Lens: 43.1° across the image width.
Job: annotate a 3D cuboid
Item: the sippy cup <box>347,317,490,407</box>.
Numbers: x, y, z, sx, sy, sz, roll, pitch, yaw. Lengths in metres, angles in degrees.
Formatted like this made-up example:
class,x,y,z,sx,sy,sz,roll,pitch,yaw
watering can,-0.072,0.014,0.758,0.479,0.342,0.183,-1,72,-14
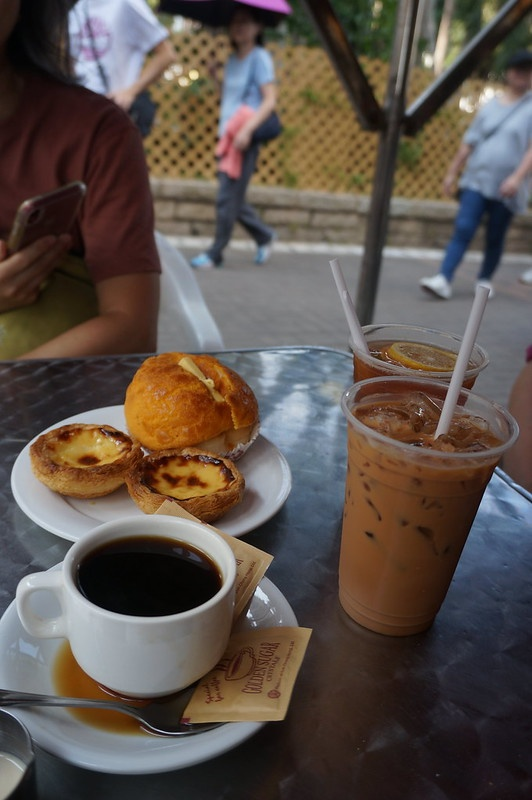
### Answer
class,x,y,z,sx,sy,sz,roll,pitch,yaw
sippy cup,0.205,-0.064,0.948,0.145,0.097,0.136,1,31,-1

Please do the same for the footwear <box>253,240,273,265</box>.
class,x,y,z,sx,sy,sz,roll,pitch,yaw
footwear,-0.005,-0.261,1.197,0.026,0.021,0.054,11,66,1

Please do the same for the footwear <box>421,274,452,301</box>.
class,x,y,z,sx,sy,sz,roll,pitch,yaw
footwear,1.419,-0.888,5.432,0.332,0.142,0.125,20,14,-35

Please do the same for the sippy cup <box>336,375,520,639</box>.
class,x,y,z,sx,sy,sz,roll,pitch,yaw
sippy cup,0.161,0.109,0.770,0.264,0.230,0.246,4,14,-1
